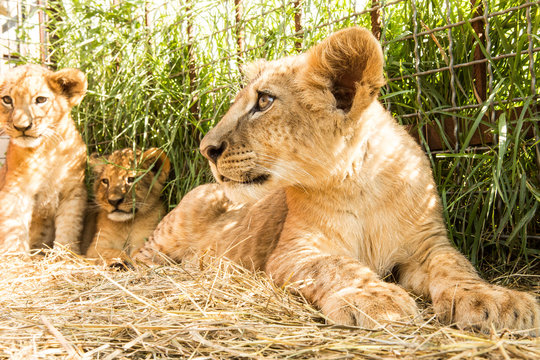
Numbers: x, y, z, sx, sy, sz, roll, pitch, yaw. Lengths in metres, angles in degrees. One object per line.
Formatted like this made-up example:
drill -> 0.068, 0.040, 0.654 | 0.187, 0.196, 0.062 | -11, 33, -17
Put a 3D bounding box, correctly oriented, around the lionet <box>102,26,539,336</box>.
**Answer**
lionet -> 0.264, -0.068, 3.456 | 1.364, 1.006, 2.321 | -1, 5, -23
